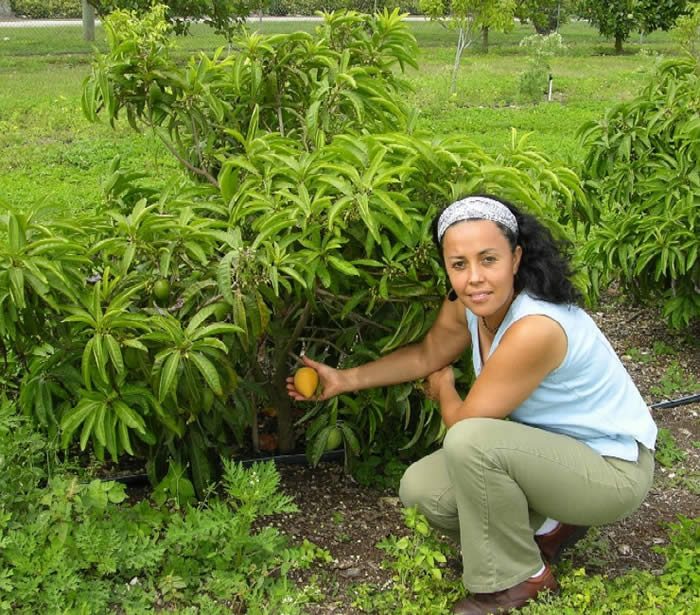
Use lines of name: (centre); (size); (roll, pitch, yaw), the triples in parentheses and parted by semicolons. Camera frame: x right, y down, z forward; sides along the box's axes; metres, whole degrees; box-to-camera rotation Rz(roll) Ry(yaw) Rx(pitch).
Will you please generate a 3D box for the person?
person: (0.556, 0.255, 2.095); (0.728, 1.238, 0.726); (-5, 19, -25)
